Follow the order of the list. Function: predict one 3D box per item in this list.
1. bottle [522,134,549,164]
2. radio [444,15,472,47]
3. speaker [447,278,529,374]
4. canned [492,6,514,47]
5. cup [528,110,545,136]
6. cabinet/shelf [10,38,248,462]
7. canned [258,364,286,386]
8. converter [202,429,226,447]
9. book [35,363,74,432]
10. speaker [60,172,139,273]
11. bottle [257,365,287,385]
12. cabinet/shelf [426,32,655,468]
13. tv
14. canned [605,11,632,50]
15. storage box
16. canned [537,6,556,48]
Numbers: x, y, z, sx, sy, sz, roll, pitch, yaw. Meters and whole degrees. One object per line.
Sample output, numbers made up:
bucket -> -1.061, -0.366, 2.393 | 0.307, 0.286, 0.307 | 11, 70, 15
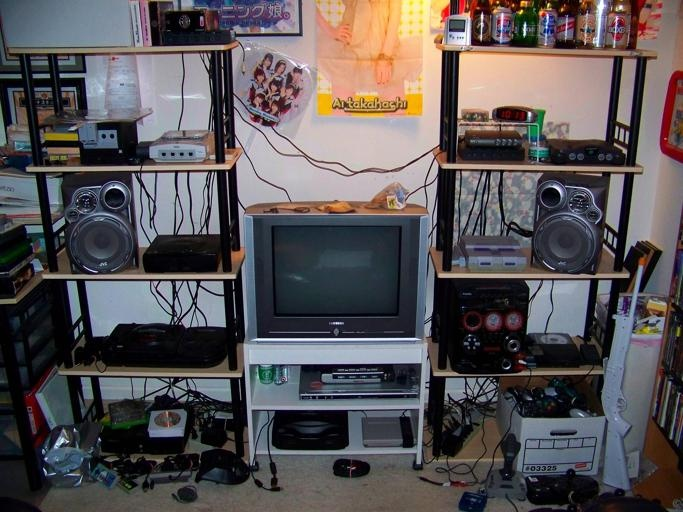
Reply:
bottle -> 1.026, -0.563, 2.957 | 0.104, 0.167, 0.167 | -3, 15, -3
radio -> 0.564, -1.089, 2.675 | 0.142, 0.135, 0.081 | 1, 13, 5
speaker -> 0.805, 0.395, 3.324 | 0.476, 0.658, 0.512 | 0, 8, 3
canned -> 0.778, -1.117, 2.689 | 0.100, 0.168, 0.053 | 0, 18, 7
cup -> 1.029, -0.709, 2.946 | 0.072, 0.143, 0.206 | 6, 20, 21
cabinet/shelf -> -1.095, 0.006, 3.218 | 1.150, 2.319, 0.803 | -5, 18, -9
canned -> -0.416, 0.710, 3.316 | 0.163, 0.154, 0.115 | 3, 10, -6
converter -> -0.778, 1.100, 3.391 | 0.152, 0.112, 0.107 | 1, 8, 9
book -> -1.668, 0.831, 3.235 | 0.072, 0.297, 0.274 | -9, 30, -2
speaker -> -1.263, -0.163, 2.901 | 0.340, 0.509, 0.100 | -2, 18, 1
bottle -> -0.416, 0.710, 3.313 | 0.162, 0.154, 0.119 | 3, 12, -4
cabinet/shelf -> 1.074, -0.028, 3.238 | 1.099, 2.371, 0.787 | 1, 18, 8
tv -> -0.031, -0.035, 3.234 | 1.263, 0.886, 0.673 | 0, 12, 1
canned -> 1.364, -1.107, 2.713 | 0.117, 0.171, 0.050 | -6, 19, -14
storage box -> 1.232, 0.998, 3.254 | 0.473, 0.289, 0.475 | 1, 5, 4
canned -> 1.007, -1.121, 2.715 | 0.091, 0.183, 0.094 | 5, 19, 19
